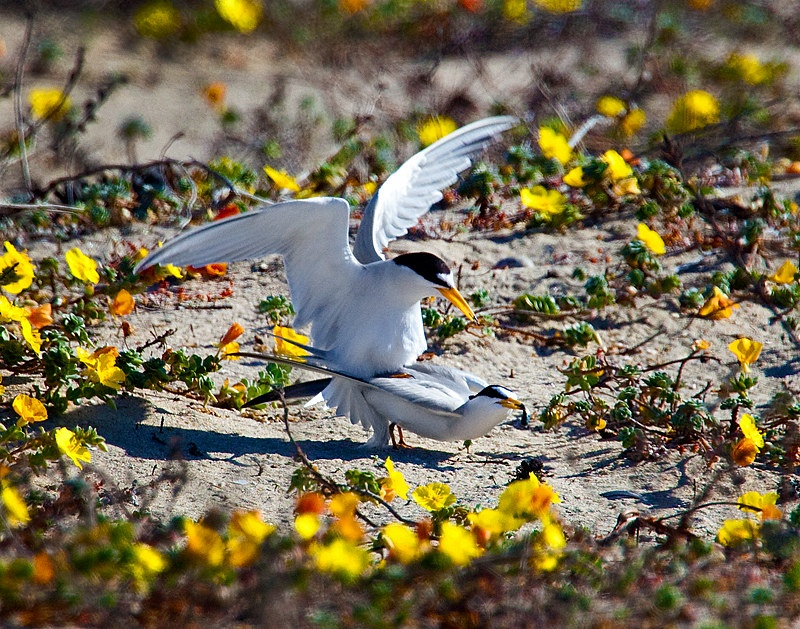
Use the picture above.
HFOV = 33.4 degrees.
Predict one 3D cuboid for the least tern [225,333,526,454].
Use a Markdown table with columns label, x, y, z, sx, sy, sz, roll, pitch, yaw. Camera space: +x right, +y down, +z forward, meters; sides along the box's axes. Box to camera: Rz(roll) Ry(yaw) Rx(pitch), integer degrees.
| label | x | y | z | sx | sy | sz | roll | pitch | yaw |
| --- | --- | --- | --- | --- | --- | --- | --- | --- | --- |
| least tern | -0.067 | 0.437 | 6.537 | 1.458 | 0.651 | 0.431 | 13 | 98 | 18 |

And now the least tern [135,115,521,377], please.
| label | x | y | z | sx | sy | sz | roll | pitch | yaw |
| --- | --- | --- | --- | --- | --- | --- | --- | --- | --- |
| least tern | -0.233 | -0.120 | 6.552 | 1.332 | 1.944 | 0.933 | 10 | 96 | 44 |
